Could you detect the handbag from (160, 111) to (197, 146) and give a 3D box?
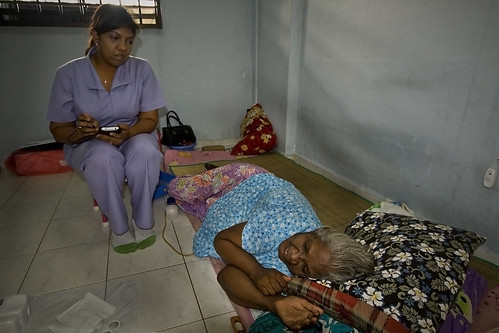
[{"bbox_3d":[-0.997,-0.520,4.666,0.554,0.213,0.525,-4,66,-46],"label":"handbag"}]

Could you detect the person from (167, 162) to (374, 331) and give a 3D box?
[{"bbox_3d":[-0.022,0.435,2.418,1.255,0.422,0.829,27,31,31],"label":"person"}]

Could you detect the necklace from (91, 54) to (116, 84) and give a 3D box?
[{"bbox_3d":[-1.217,-0.782,2.890,0.185,0.209,0.232,0,40,-42],"label":"necklace"}]

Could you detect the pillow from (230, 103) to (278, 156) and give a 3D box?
[{"bbox_3d":[0.107,-0.510,4.674,0.632,0.326,0.728,-11,56,20],"label":"pillow"}]

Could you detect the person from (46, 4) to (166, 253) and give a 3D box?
[{"bbox_3d":[-1.072,-0.351,2.792,0.923,1.705,1.036,-19,35,-30],"label":"person"}]
